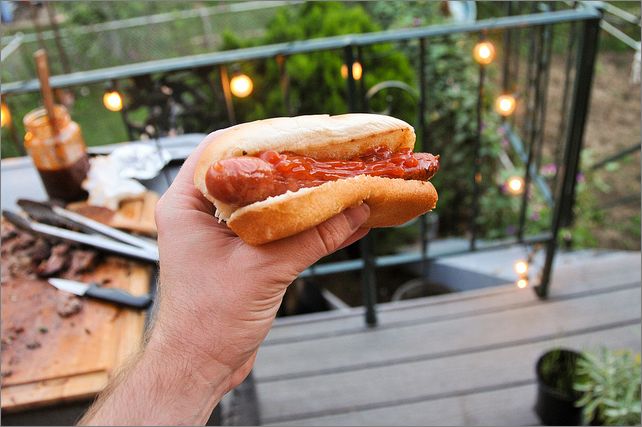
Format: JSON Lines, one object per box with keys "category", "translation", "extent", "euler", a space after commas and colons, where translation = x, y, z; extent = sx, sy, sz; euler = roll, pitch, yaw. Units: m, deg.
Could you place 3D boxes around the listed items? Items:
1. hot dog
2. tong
{"category": "hot dog", "translation": [-0.009, -0.258, 3.071], "extent": [1.336, 0.649, 0.728], "euler": [-10, 36, -32]}
{"category": "tong", "translation": [-1.556, 0.134, 3.286], "extent": [0.883, 0.096, 0.198], "euler": [18, 56, -20]}
